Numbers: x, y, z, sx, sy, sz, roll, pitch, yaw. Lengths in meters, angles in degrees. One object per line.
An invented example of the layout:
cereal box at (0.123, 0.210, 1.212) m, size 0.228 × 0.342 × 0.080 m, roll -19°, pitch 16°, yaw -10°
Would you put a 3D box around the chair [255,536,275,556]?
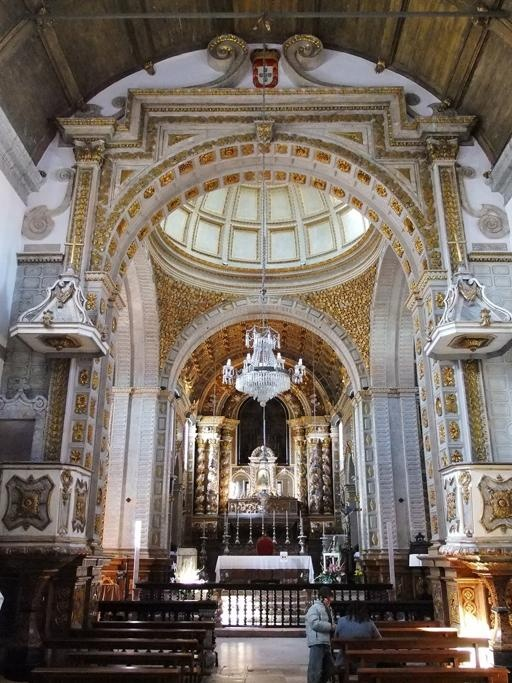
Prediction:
chair at (0.257, 5.437, 14.504) m, size 0.375 × 0.448 × 0.695 m, roll -3°, pitch -22°, yaw 7°
